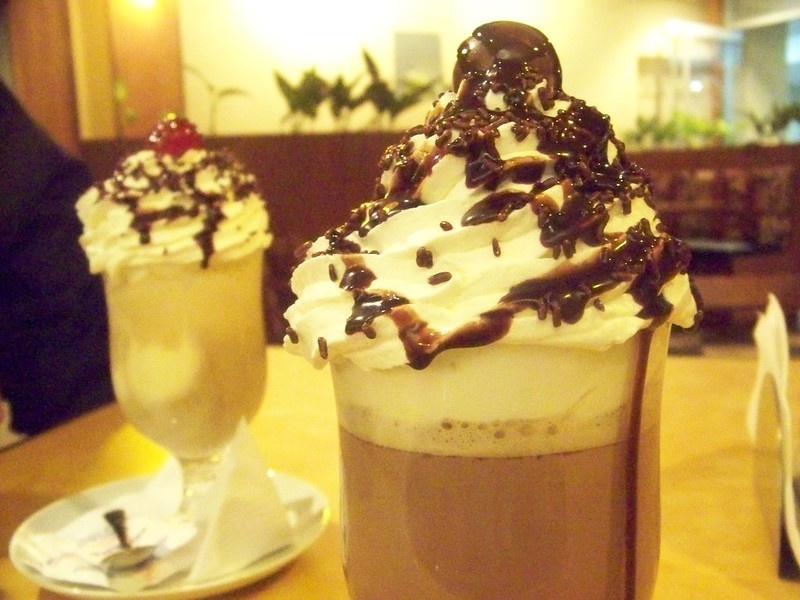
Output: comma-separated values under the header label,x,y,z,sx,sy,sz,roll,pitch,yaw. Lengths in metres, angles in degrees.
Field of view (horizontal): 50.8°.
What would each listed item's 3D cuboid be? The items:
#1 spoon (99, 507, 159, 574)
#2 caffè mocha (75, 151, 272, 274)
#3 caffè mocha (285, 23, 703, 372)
label,x,y,z,sx,sy,sz,roll,pitch,yaw
spoon,-0.325,0.281,0.990,0.059,0.057,0.055,-25,-11,20
caffè mocha,-0.254,-0.126,1.012,0.210,0.105,0.197,-8,34,0
caffè mocha,0.105,-0.061,0.871,0.397,0.258,0.355,-3,2,-21
